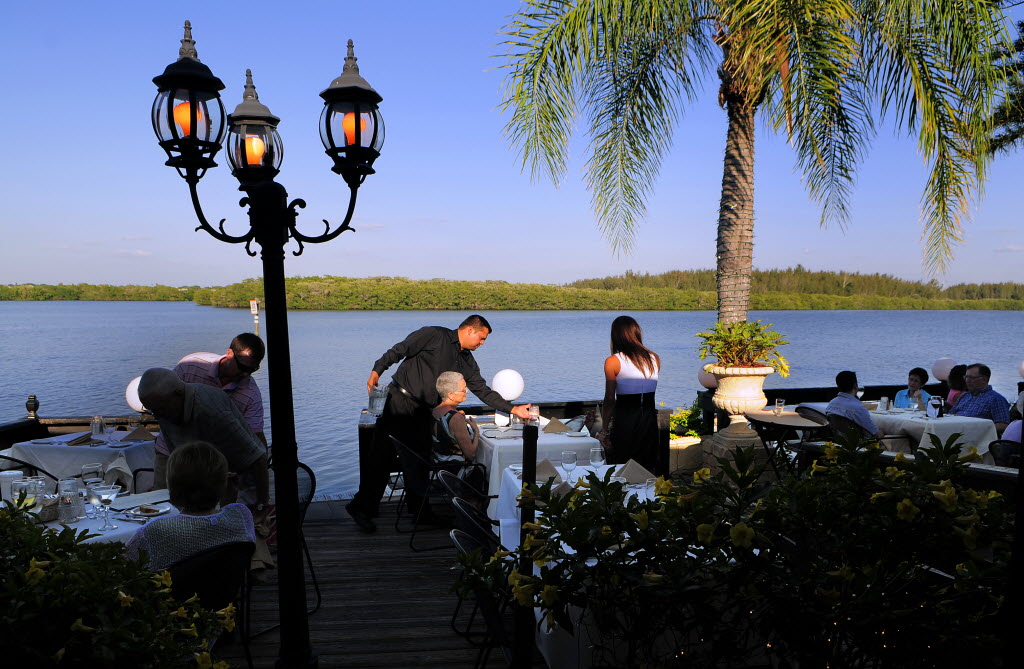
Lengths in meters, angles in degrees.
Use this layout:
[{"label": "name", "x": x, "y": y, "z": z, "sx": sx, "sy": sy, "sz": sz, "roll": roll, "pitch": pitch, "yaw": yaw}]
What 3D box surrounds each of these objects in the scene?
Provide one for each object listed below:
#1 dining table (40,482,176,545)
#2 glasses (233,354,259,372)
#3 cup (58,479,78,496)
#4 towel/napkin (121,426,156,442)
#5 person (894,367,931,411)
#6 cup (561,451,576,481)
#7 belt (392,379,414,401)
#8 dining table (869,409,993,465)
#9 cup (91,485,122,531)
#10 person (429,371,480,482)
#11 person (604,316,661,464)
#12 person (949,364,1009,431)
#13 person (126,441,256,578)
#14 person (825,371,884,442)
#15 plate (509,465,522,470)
[{"label": "dining table", "x": -2.979, "y": 1.392, "z": 6.351, "sx": 0.665, "sy": 0.182, "sz": 0.888, "roll": 3, "pitch": 7, "yaw": 11}, {"label": "glasses", "x": -2.450, "y": 0.277, "z": 7.626, "sx": 0.165, "sy": 0.052, "sz": 0.172, "roll": 16, "pitch": 22, "yaw": -47}, {"label": "cup", "x": -3.416, "y": 1.173, "z": 6.378, "sx": 0.119, "sy": 0.105, "sz": 0.120, "roll": 1, "pitch": 3, "yaw": 0}, {"label": "towel/napkin", "x": -4.062, "y": 1.079, "z": 8.967, "sx": 0.247, "sy": 0.111, "sz": 0.332, "roll": 0, "pitch": 1, "yaw": -27}, {"label": "person", "x": 5.138, "y": 0.698, "z": 10.638, "sx": 0.409, "sy": 0.499, "sz": 0.837, "roll": 3, "pitch": 8, "yaw": 25}, {"label": "cup", "x": 0.483, "y": 1.162, "z": 7.244, "sx": 0.188, "sy": 0.291, "sz": 0.169, "roll": 1, "pitch": 4, "yaw": 12}, {"label": "belt", "x": -1.154, "y": 0.590, "z": 8.771, "sx": 0.164, "sy": 0.174, "sz": 0.171, "roll": 23, "pitch": 16, "yaw": -40}, {"label": "dining table", "x": 4.082, "y": 0.978, "z": 7.970, "sx": 0.932, "sy": 0.418, "sz": 1.527, "roll": -1, "pitch": 0, "yaw": -14}, {"label": "cup", "x": -3.111, "y": 1.317, "z": 6.316, "sx": 0.263, "sy": 0.320, "sz": 0.265, "roll": 0, "pitch": -5, "yaw": 0}, {"label": "person", "x": -0.602, "y": 0.920, "z": 8.505, "sx": 0.453, "sy": 1.105, "sz": 0.364, "roll": 1, "pitch": 7, "yaw": 17}, {"label": "person", "x": 1.213, "y": 0.589, "z": 8.474, "sx": 0.554, "sy": 1.560, "sz": 0.314, "roll": 0, "pitch": 7, "yaw": 7}, {"label": "person", "x": 5.725, "y": 0.770, "z": 10.148, "sx": 0.483, "sy": 0.790, "sz": 0.857, "roll": 1, "pitch": 1, "yaw": -9}, {"label": "person", "x": -2.302, "y": 1.193, "z": 5.878, "sx": 0.980, "sy": 0.857, "sz": 0.502, "roll": -5, "pitch": 8, "yaw": -32}, {"label": "person", "x": 3.846, "y": 0.819, "z": 9.411, "sx": 0.454, "sy": 0.841, "sz": 0.630, "roll": -18, "pitch": 12, "yaw": -42}, {"label": "plate", "x": 0.036, "y": 1.223, "z": 7.565, "sx": 0.129, "sy": 0.031, "sz": 0.103, "roll": 0, "pitch": 2, "yaw": 4}]
